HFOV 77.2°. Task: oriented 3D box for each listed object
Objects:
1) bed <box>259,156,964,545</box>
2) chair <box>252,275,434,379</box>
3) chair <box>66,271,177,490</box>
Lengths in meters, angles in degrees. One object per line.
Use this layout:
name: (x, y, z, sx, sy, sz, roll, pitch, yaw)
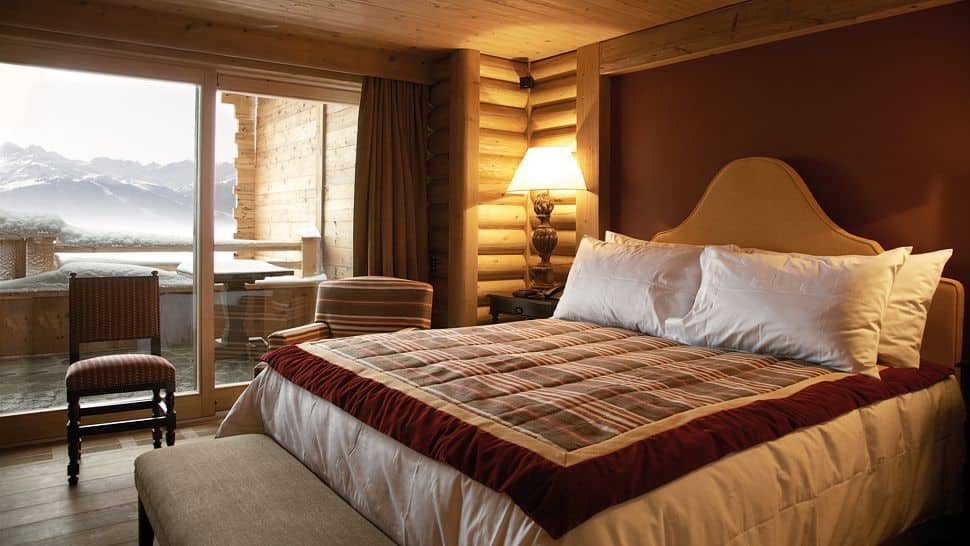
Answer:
bed: (0.914, 0.457, 3.956, 3.097, 1.587, 2.917, -3, 3, -29)
chair: (-1.101, 0.453, 5.269, 0.901, 1.044, 1.030, 0, -9, 10)
chair: (-2.863, 0.752, 4.732, 0.737, 1.467, 0.800, -5, 7, -30)
